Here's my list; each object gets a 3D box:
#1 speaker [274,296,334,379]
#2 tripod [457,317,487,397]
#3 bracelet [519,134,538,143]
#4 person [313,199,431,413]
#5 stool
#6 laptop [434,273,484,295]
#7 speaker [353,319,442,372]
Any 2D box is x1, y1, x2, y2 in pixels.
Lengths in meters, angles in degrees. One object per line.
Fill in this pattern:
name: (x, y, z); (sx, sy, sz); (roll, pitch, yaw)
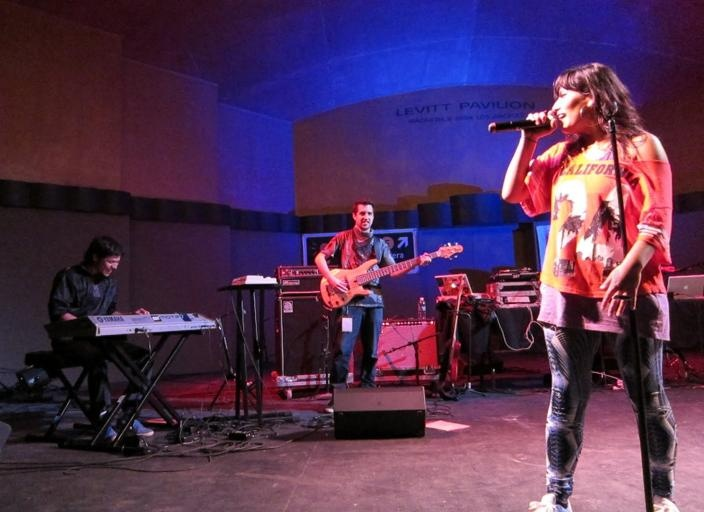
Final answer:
speaker: (-0.590, 0.989, 6.502); (0.818, 1.397, 0.461); (1, -6, -8)
tripod: (1.473, 1.098, 6.655); (0.343, 0.871, 1.442); (-3, -4, 10)
bracelet: (0.875, -0.605, 2.754); (0.053, 0.061, 0.057); (0, 2, -15)
person: (0.084, 0.463, 5.704); (0.841, 2.066, 0.830); (-3, -4, 7)
stool: (-2.366, 1.148, 4.713); (0.696, 0.765, 0.829); (-10, -3, -44)
laptop: (1.205, 0.310, 6.187); (0.339, 0.200, 0.477); (-4, -2, 42)
speaker: (0.612, 1.030, 6.343); (0.843, 0.855, 0.520); (0, -11, 3)
